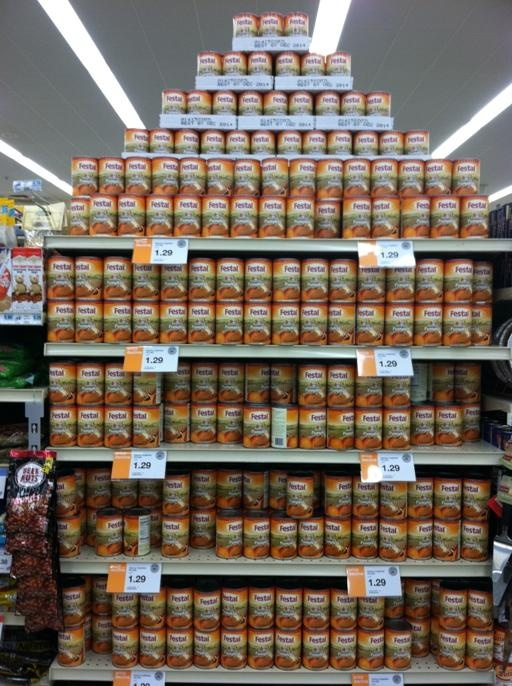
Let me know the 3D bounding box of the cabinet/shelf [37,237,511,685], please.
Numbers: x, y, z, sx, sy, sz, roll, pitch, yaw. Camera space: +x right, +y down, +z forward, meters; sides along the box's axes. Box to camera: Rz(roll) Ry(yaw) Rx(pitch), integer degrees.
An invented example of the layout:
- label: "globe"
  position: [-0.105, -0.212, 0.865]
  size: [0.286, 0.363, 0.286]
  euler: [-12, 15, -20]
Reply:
- label: "cabinet/shelf"
  position: [0.052, 0.450, 2.401]
  size: [2.030, 1.572, 0.616]
  euler: [-1, -2, -1]
